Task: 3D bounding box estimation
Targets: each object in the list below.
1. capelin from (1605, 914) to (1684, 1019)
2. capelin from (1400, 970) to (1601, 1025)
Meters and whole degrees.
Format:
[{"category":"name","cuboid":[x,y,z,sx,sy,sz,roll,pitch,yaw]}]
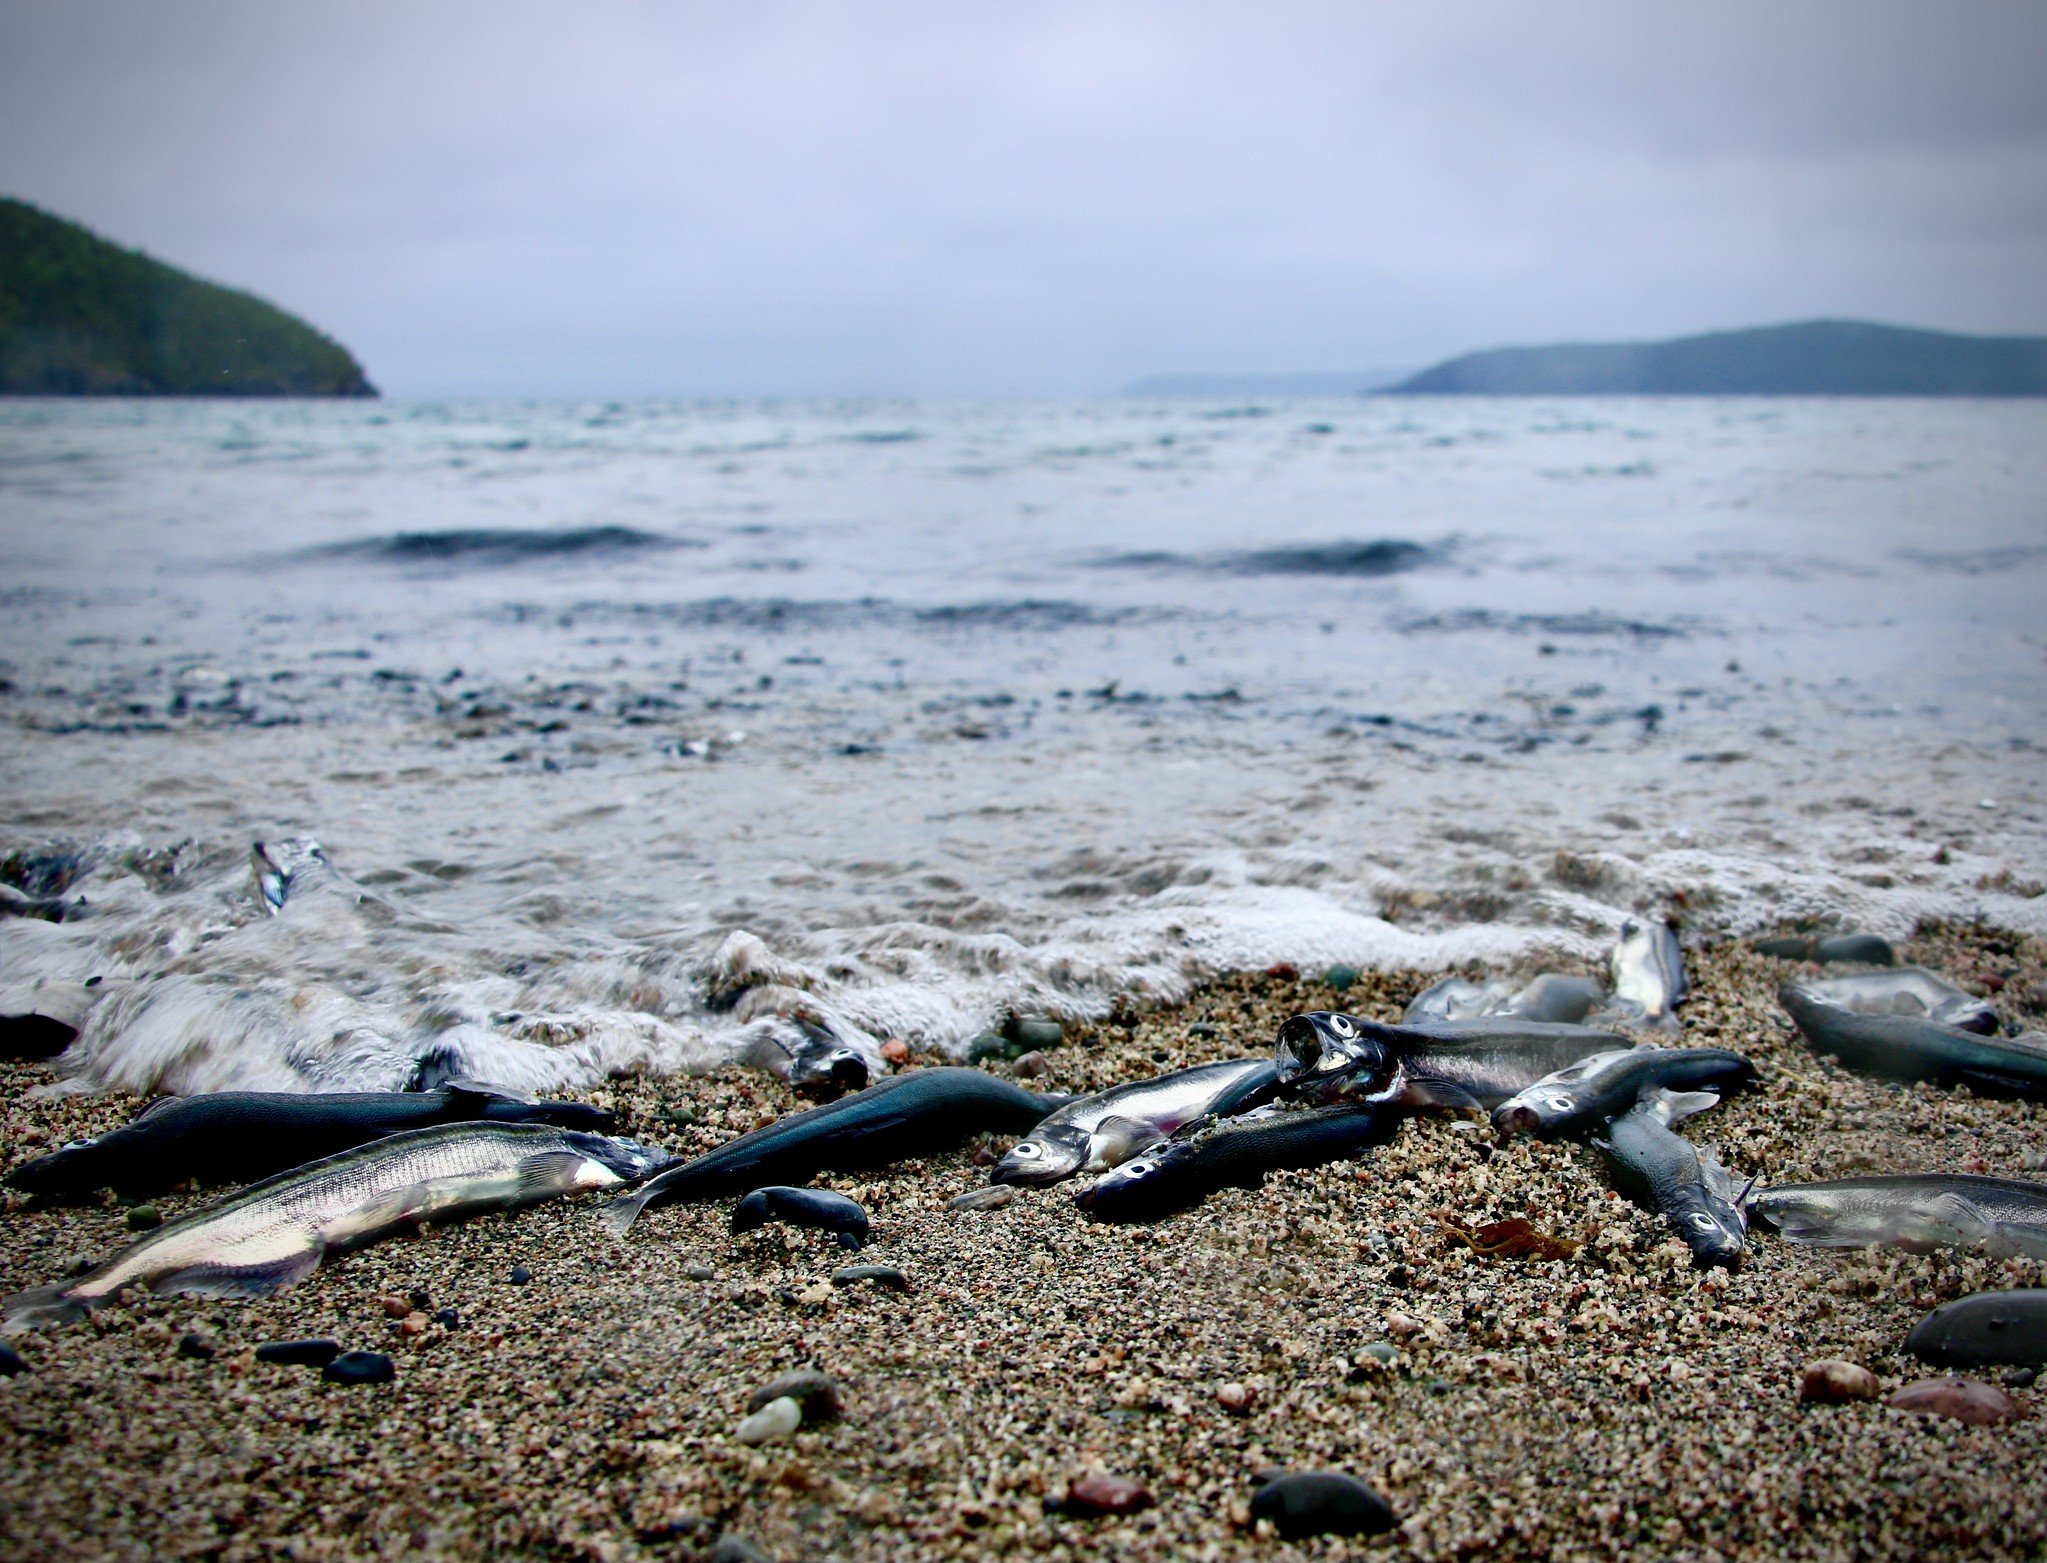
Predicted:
[{"category":"capelin","cuboid":[2.562,0.728,8.148,0.400,0.121,0.806,0,12,15]},{"category":"capelin","cuboid":[1.932,0.874,7.921,0.564,0.143,0.292,5,3,-23]}]
